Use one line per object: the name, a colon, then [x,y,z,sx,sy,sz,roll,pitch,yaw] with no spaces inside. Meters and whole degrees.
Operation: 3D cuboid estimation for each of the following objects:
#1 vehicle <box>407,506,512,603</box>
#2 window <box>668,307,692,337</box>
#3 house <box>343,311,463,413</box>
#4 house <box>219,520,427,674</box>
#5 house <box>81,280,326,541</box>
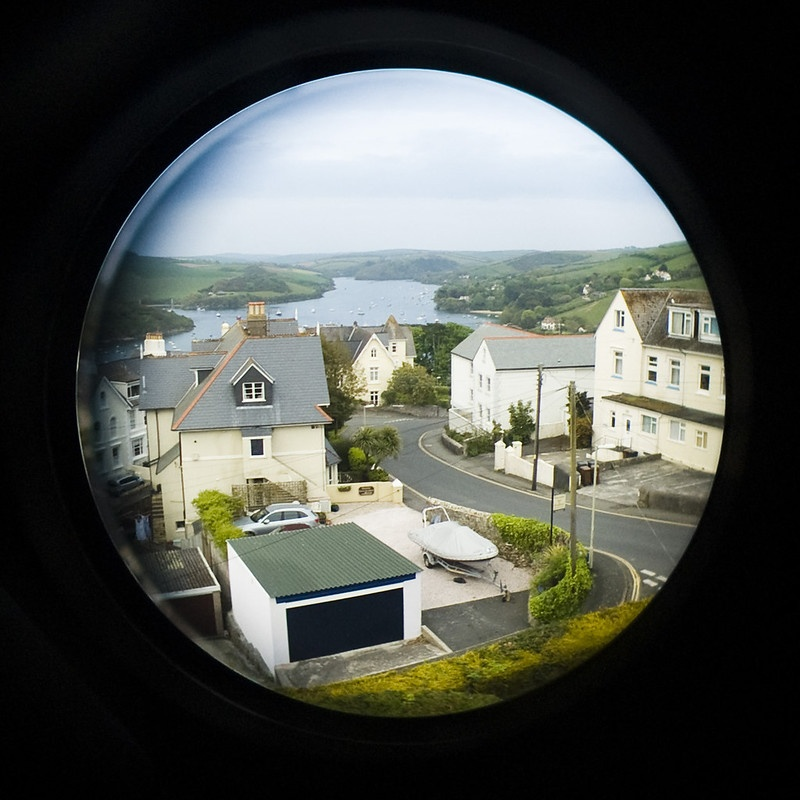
vehicle: [0.640,1.615,7.853,0.423,0.402,1.143,-10,15,-28]
window: [2.751,-0.784,7.180,0.280,0.315,0.028,1,7,33]
house: [-0.009,-0.582,11.335,1.460,0.870,1.434,-1,3,-5]
house: [-0.637,1.664,6.542,1.327,0.714,1.395,-4,9,-43]
house: [-2.283,0.062,10.297,3.260,2.640,2.891,13,19,35]
